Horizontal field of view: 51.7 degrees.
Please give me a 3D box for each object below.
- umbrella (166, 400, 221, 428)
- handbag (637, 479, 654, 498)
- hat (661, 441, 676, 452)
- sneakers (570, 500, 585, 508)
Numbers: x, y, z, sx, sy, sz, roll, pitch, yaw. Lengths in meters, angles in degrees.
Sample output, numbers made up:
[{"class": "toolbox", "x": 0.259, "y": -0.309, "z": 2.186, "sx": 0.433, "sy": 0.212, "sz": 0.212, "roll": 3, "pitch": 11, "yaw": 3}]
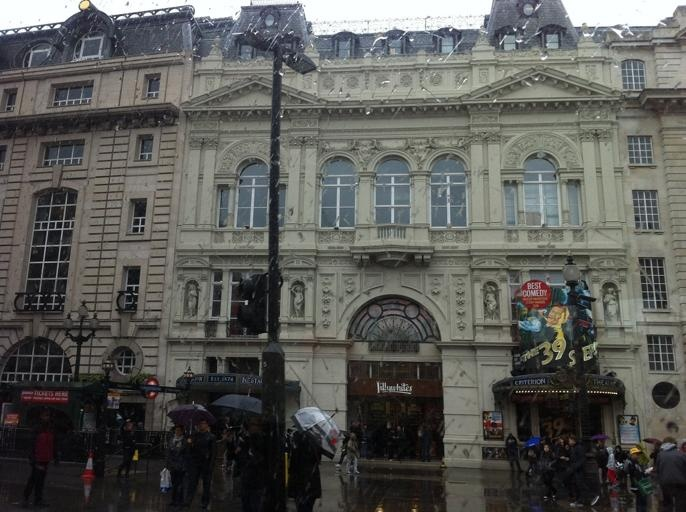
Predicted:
[{"class": "umbrella", "x": -5.740, "y": 5.947, "z": 26.607, "sx": 1.579, "sy": 0.878, "sz": 2.593, "roll": 4, "pitch": -14, "yaw": -16}, {"class": "handbag", "x": 9.946, "y": 7.585, "z": 23.362, "sx": 0.363, "sy": 0.497, "sz": 0.484, "roll": -8, "pitch": -16, "yaw": 29}, {"class": "hat", "x": 10.132, "y": 5.937, "z": 22.118, "sx": 0.307, "sy": 0.146, "sz": 0.266, "roll": -8, "pitch": -29, "yaw": -2}, {"class": "sneakers", "x": 8.581, "y": 9.154, "z": 26.152, "sx": 0.199, "sy": 0.248, "sz": 0.596, "roll": -18, "pitch": -24, "yaw": 33}]
